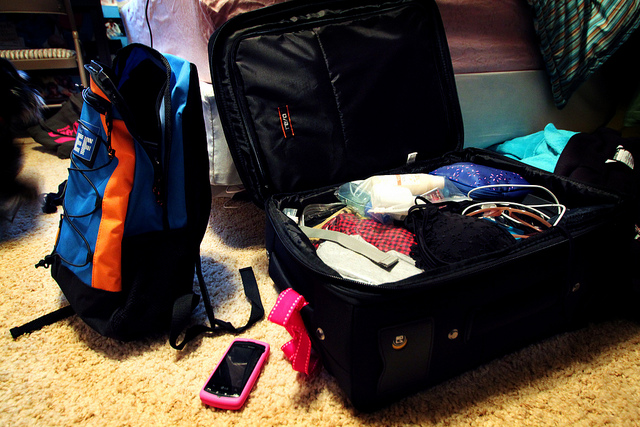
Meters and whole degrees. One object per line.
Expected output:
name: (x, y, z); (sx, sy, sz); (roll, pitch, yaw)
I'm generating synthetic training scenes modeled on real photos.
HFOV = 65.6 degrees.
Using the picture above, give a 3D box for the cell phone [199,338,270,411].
cell phone: (-0.235, 0.447, 1.402); (0.139, 0.057, 0.235); (8, 32, 20)

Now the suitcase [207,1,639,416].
suitcase: (0.289, -0.124, 1.533); (1.014, 0.835, 1.034); (-14, 37, -18)
